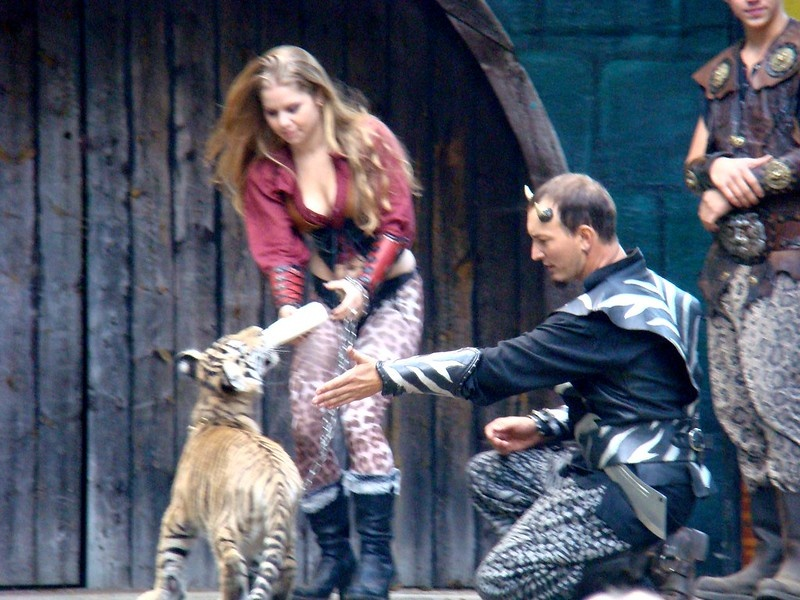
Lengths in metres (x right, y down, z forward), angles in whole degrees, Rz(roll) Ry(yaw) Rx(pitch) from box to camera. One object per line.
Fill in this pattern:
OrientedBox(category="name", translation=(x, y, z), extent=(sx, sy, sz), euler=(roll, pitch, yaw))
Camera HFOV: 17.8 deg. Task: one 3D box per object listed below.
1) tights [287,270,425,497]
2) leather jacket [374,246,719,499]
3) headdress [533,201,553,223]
OrientedBox(category="tights", translation=(-0.171, 0.313, 10.495), extent=(0.357, 0.984, 0.445), euler=(10, 11, 20))
OrientedBox(category="leather jacket", translation=(0.631, 0.386, 10.336), extent=(1.267, 0.919, 0.876), euler=(-20, 0, -11))
OrientedBox(category="headdress", translation=(0.571, -0.338, 10.054), extent=(0.057, 0.076, 0.029), euler=(-46, -25, 11))
